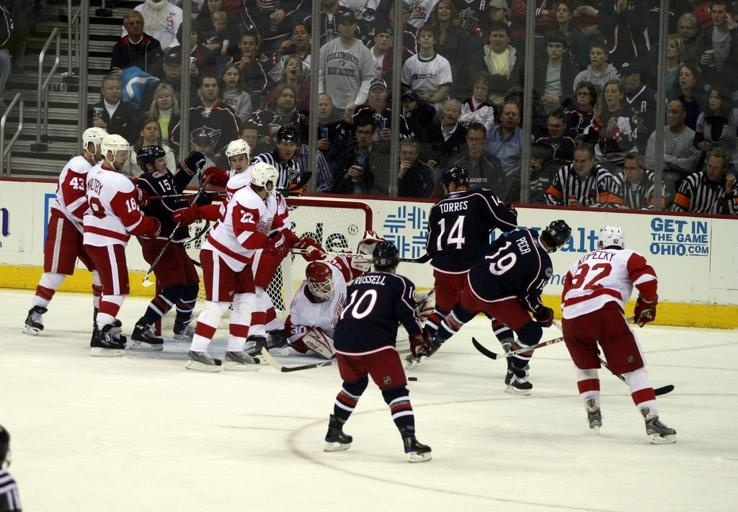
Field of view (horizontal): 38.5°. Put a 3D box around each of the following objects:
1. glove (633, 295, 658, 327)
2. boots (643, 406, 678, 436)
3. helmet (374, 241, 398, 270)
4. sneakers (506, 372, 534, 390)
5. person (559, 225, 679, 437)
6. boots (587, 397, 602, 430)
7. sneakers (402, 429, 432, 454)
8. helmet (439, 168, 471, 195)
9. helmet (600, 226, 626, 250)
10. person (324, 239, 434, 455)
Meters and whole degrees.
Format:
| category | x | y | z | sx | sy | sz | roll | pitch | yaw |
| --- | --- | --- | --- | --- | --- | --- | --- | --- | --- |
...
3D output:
| category | x | y | z | sx | sy | sz | roll | pitch | yaw |
| --- | --- | --- | --- | --- | --- | --- | --- | --- | --- |
| glove | 2.164 | 0.414 | 8.244 | 0.212 | 0.096 | 0.226 | 7 | -42 | -2 |
| boots | 2.195 | 1.214 | 7.768 | 0.119 | 0.225 | 0.339 | -20 | 7 | -32 |
| helmet | 0.130 | 0.009 | 7.720 | 0.167 | 0.189 | 0.184 | 3 | -41 | 5 |
| sneakers | 1.306 | 1.080 | 9.138 | 0.240 | 0.127 | 0.200 | 2 | -1 | 6 |
| person | 1.908 | 0.581 | 8.061 | 0.854 | 1.236 | 0.469 | 2 | -1 | 10 |
| boots | 1.699 | 1.194 | 7.966 | 0.093 | 0.166 | 0.261 | -8 | 13 | 9 |
| sneakers | 0.339 | 1.299 | 7.355 | 0.227 | 0.149 | 0.124 | 2 | -1 | -7 |
| helmet | 0.833 | -0.703 | 9.953 | 0.226 | 0.216 | 0.363 | 3 | -1 | -21 |
| helmet | 1.888 | -0.137 | 8.251 | 0.176 | 0.182 | 0.213 | 5 | 7 | 4 |
| person | 0.088 | 0.660 | 7.557 | 0.742 | 1.322 | 0.530 | 2 | -1 | -2 |
